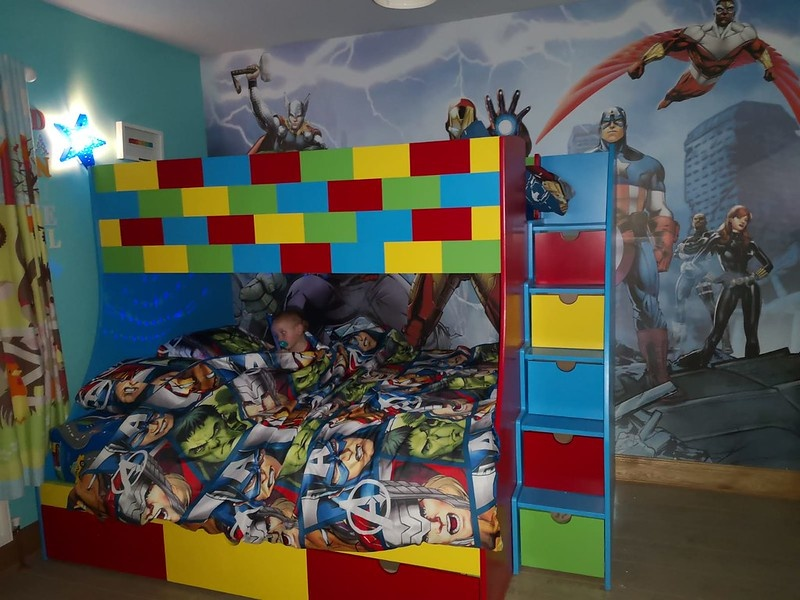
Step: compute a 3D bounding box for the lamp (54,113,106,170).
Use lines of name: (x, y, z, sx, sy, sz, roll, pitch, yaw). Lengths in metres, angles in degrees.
lamp: (-1.958, -0.983, 3.909, 0.092, 0.344, 0.358, 3, 25, 21)

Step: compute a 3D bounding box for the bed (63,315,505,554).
bed: (-0.626, 0.681, 3.980, 2.225, 0.554, 2.091, 3, 13, 6)
